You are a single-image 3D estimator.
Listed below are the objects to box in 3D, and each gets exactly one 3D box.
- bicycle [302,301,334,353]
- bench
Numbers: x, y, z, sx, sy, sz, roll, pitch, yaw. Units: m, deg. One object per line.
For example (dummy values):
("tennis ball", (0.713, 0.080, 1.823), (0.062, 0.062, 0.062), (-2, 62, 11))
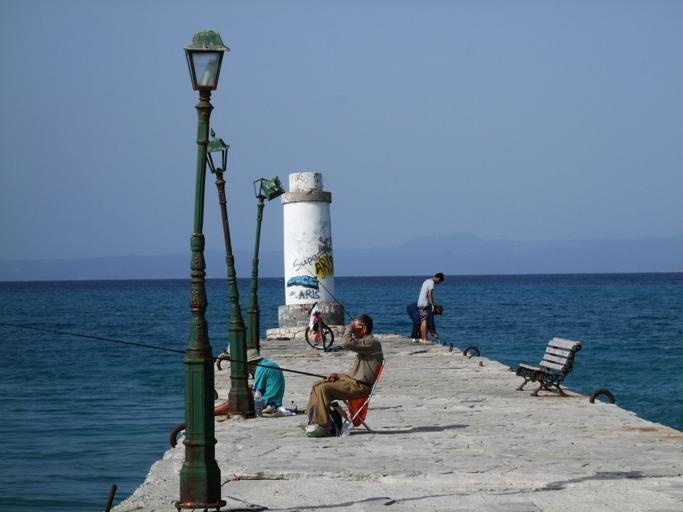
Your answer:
("bicycle", (-0.678, 2.045, 38.515), (0.704, 0.866, 1.402), (-19, 14, 2))
("bench", (4.836, 2.631, 29.537), (1.177, 1.323, 1.906), (3, -1, -7))
